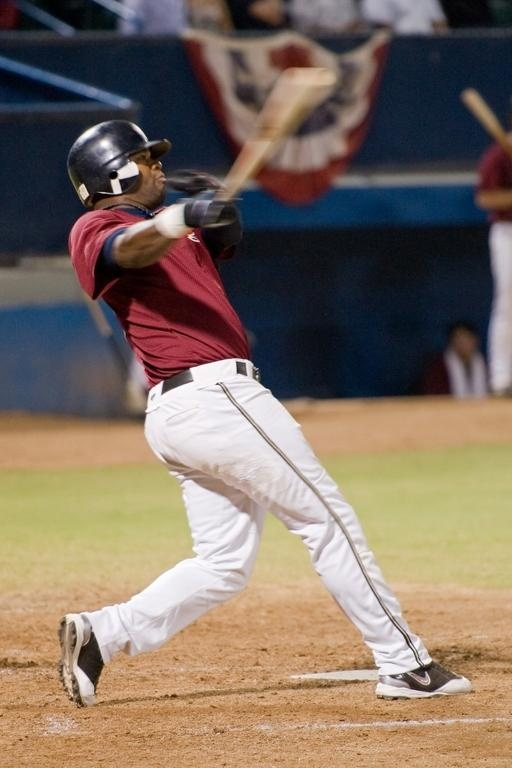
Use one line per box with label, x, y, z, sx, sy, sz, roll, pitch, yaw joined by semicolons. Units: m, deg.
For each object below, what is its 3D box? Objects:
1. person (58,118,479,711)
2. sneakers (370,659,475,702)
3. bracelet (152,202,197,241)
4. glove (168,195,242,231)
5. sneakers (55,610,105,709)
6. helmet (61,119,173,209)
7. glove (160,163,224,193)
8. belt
person;-0.115;0.069;2.740;0.700;1.640;0.841;-4;6;-39
sneakers;0.450;0.811;2.757;0.291;0.105;0.091;-1;-7;-9
bracelet;-0.184;-0.387;2.403;0.080;0.083;0.091;18;34;-43
glove;-0.129;-0.405;2.378;0.160;0.079;0.054;-7;55;26
sneakers;-0.483;0.751;2.792;0.158;0.248;0.102;-5;2;-18
helmet;-0.360;-0.652;2.878;0.336;0.195;0.215;-10;10;7
glove;-0.208;-0.641;3.192;0.179;0.051;0.118;1;23;-20
belt;-0.140;-0.019;2.707;0.301;0.103;0.167;0;3;-3
